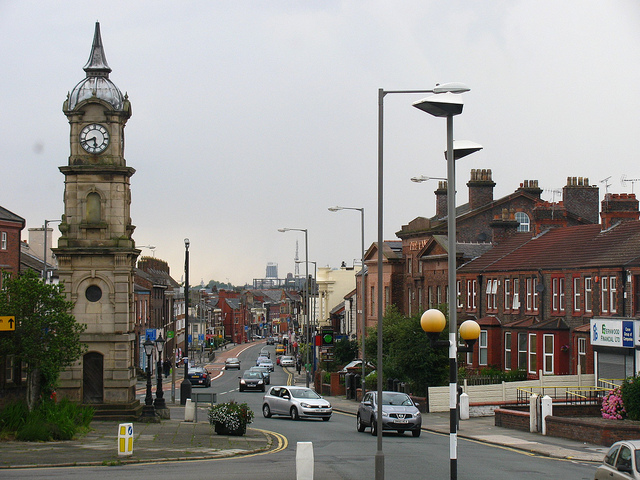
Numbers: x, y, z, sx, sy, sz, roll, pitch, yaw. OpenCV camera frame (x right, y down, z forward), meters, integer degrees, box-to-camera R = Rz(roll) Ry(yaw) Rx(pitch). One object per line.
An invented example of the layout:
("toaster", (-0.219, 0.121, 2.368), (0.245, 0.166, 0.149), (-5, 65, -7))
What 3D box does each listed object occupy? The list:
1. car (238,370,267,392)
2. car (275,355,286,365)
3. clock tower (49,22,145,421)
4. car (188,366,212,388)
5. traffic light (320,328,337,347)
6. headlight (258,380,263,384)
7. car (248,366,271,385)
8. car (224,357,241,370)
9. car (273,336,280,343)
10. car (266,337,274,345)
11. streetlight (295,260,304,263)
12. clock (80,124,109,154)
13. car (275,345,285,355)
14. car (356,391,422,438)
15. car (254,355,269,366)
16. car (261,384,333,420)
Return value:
("car", (-4.737, 10.273, 91.858), (1.344, 1.134, 2.234), (0, -9, -2))
("car", (-4.306, 13.672, 143.528), (1.433, 0.805, 2.499), (1, -8, -5))
("clock tower", (-11.584, 0.027, 65.633), (6.233, 19.180, 5.676), (-1, 0, 35))
("car", (-9.012, 10.406, 95.884), (1.550, 1.447, 2.612), (1, -9, -7))
("traffic light", (0.754, 6.616, 85.220), (0.888, 1.151, 1.363), (0, -7, -2))
("headlight", (-4.154, 10.069, 89.760), (0.207, 0.117, 0.310), (-1, -3, -2))
("car", (-4.556, 10.890, 102.549), (1.450, 1.238, 2.437), (-1, -9, 0))
("car", (-8.962, 12.956, 131.912), (1.211, 0.958, 2.607), (0, 6, -1))
("car", (-7.414, 17.612, 222.463), (0.876, 0.744, 1.528), (0, -10, -4))
("car", (-8.235, 17.524, 215.317), (1.347, 0.699, 2.187), (2, 1, 1))
("streetlight", (-1.166, 1.254, 72.219), (0.407, 0.175, 0.533), (2, -2, -41))
("clock", (-11.468, -5.029, 64.542), (1.032, 1.109, 0.073), (24, 0, -9))
("car", (-5.217, 14.873, 170.958), (1.281, 1.215, 2.234), (0, -7, -5))
("car", (3.528, 8.438, 61.183), (2.513, 2.189, 2.628), (3, -9, -17))
("car", (-5.839, 12.016, 129.774), (1.553, 1.355, 2.664), (0, -10, -6))
("car", (-1.136, 8.694, 67.918), (2.277, 1.797, 3.937), (4, -10, -24))
